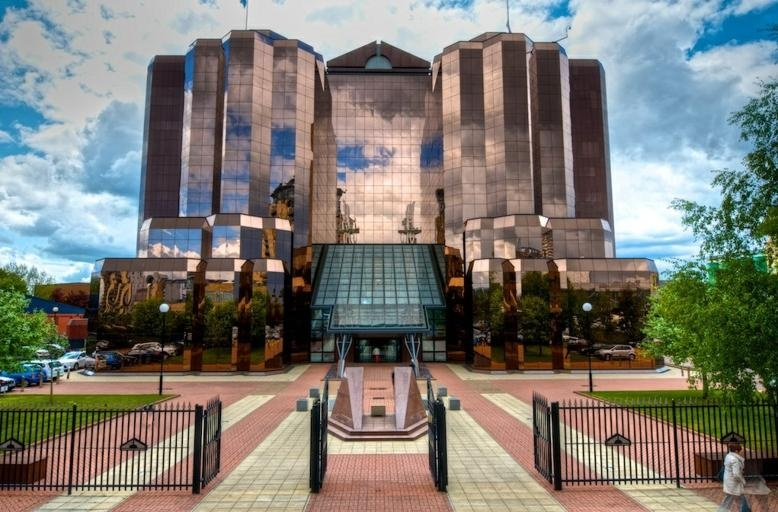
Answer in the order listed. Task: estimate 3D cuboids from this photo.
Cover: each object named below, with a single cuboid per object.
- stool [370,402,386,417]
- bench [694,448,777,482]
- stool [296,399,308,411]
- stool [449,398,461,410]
[{"bbox_3d":[-0.668,8.535,30.311,0.704,0.418,0.711,2,2,30],"label":"stool"},{"bbox_3d":[14.751,9.147,22.868,2.951,1.447,0.679,-1,-5,16],"label":"bench"},{"bbox_3d":[-5.183,8.833,32.242,0.728,0.680,0.699,0,2,-4],"label":"stool"},{"bbox_3d":[3.888,8.880,32.858,0.723,0.709,0.711,-2,-8,3],"label":"stool"}]
